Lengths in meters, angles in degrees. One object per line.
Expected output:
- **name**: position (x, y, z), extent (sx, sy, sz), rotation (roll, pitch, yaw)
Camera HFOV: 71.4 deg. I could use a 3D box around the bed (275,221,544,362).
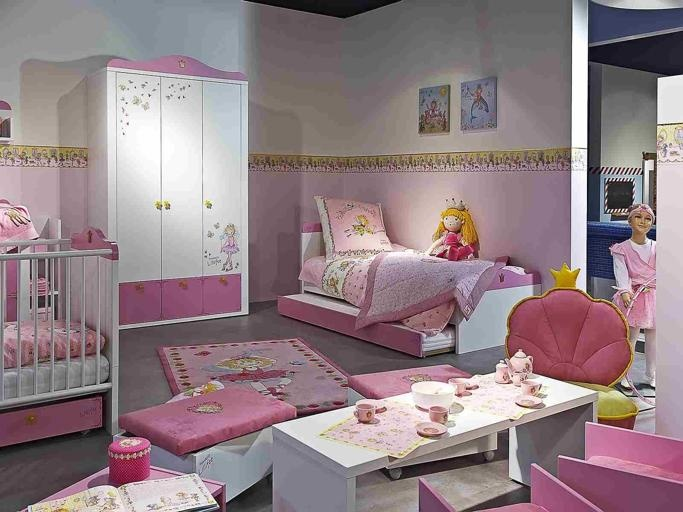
- **bed**: position (0.604, 0.359, 4.601), extent (1.406, 0.720, 1.382), rotation (-1, 4, -40)
